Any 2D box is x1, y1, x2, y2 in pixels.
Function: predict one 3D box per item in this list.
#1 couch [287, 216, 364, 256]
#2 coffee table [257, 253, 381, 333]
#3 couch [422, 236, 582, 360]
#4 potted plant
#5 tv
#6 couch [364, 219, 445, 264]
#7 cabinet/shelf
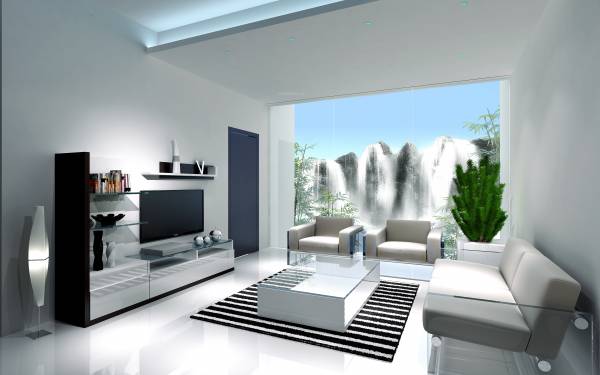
[{"bbox_3d":[0.563,0.999,7.094,1.277,0.705,0.942,1,2,25],"label":"couch"},{"bbox_3d":[0.226,1.435,4.758,0.816,0.279,1.315,0,1,23],"label":"coffee table"},{"bbox_3d":[2.271,1.176,4.153,1.399,0.804,1.291,5,14,19],"label":"couch"},{"bbox_3d":[3.011,0.293,6.109,0.946,1.459,0.947,10,-17,-44],"label":"potted plant"},{"bbox_3d":[-2.184,0.595,5.910,0.080,0.716,1.183,2,4,33],"label":"tv"},{"bbox_3d":[1.887,1.003,6.362,1.167,0.555,0.807,-2,-5,28],"label":"couch"},{"bbox_3d":[-2.315,0.639,5.889,0.709,2.075,3.118,4,2,24],"label":"cabinet/shelf"}]
